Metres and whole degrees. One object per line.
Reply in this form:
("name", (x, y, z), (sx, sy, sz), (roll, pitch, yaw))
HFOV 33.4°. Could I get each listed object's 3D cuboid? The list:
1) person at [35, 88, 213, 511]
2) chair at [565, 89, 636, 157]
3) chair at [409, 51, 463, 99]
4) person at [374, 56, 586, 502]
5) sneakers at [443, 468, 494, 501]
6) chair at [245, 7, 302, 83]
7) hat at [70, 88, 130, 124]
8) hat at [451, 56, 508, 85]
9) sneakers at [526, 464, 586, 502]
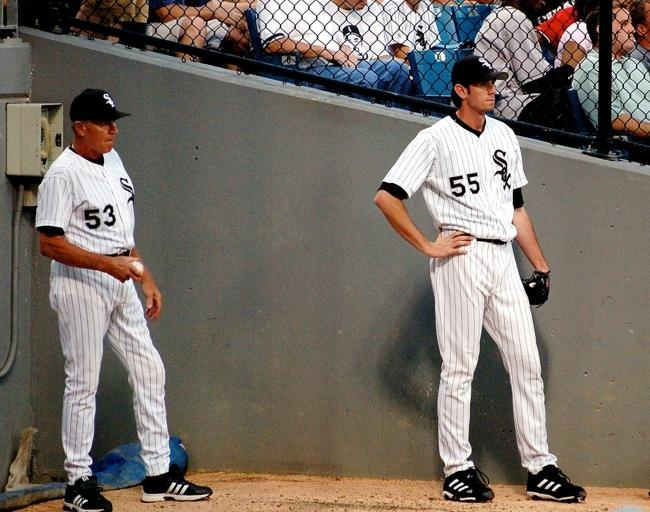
("person", (-1.246, 0.329, 6.317), (1.127, 2.371, 0.642), (22, 16, 25))
("chair", (1.819, -0.887, 7.196), (0.460, 0.569, 0.394), (2, 18, 18))
("chair", (0.704, -1.168, 7.158), (0.338, 0.331, 0.289), (7, 24, 40))
("person", (0.972, 0.171, 6.464), (1.434, 2.500, 0.656), (21, 16, 23))
("sneakers", (0.835, 1.367, 6.440), (0.296, 0.155, 0.162), (-7, -9, 37))
("chair", (-0.420, -1.422, 7.350), (0.492, 0.661, 0.484), (2, 12, 3))
("hat", (-1.316, -0.867, 6.317), (0.393, 0.206, 0.258), (-5, 6, 21))
("hat", (0.905, -1.082, 6.408), (0.246, 0.140, 0.170), (-12, 6, 20))
("sneakers", (1.352, 1.369, 6.481), (0.392, 0.198, 0.158), (-2, -5, 27))
